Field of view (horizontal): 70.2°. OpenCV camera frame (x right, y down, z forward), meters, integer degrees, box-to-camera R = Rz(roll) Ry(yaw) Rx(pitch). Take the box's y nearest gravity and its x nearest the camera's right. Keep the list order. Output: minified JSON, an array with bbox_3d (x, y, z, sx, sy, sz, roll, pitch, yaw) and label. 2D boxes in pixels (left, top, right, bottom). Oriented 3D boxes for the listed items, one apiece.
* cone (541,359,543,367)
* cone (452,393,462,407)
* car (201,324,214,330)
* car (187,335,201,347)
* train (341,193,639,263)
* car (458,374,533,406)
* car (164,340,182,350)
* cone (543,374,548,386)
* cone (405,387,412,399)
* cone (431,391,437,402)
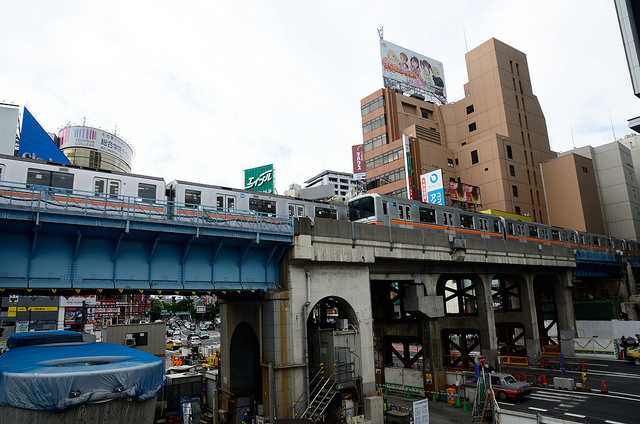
[{"bbox_3d":[26.787,18.182,54.749,0.263,0.720,0.879,-8,-15,24],"label":"cone"},{"bbox_3d":[12.883,17.472,42.348,0.841,0.961,0.532,6,-15,-29],"label":"cone"},{"bbox_3d":[-32.549,32.967,131.330,2.632,1.282,3.919,2,-2,-24],"label":"car"},{"bbox_3d":[-23.659,24.775,85.242,1.986,1.715,3.949,4,-4,-26],"label":"car"},{"bbox_3d":[22.311,1.976,57.968,39.209,6.034,6.017,9,-13,-36],"label":"train"},{"bbox_3d":[16.596,16.472,42.643,6.213,2.279,1.696,-2,-13,2],"label":"car"},{"bbox_3d":[-26.120,23.648,81.036,2.698,1.370,4.892,2,-14,-17],"label":"car"},{"bbox_3d":[23.070,17.201,46.535,0.388,0.884,1.101,-9,-15,29],"label":"cone"},{"bbox_3d":[8.872,18.055,45.338,0.531,0.720,0.715,-6,-14,17],"label":"cone"},{"bbox_3d":[11.018,17.720,43.775,0.418,0.805,0.356,-5,-14,13],"label":"cone"}]
